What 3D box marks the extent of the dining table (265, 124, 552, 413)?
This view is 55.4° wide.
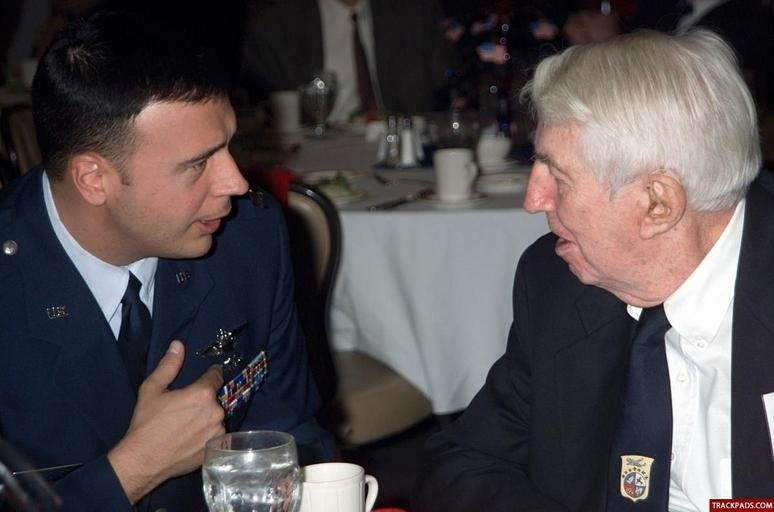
[{"bbox_3d":[0.082,0.056,2.813,0.900,0.492,0.762,11,24,26],"label":"dining table"}]

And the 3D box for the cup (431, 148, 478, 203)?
[{"bbox_3d":[0.232,-0.292,2.831,0.232,0.215,0.173,-3,-2,9],"label":"cup"}]
